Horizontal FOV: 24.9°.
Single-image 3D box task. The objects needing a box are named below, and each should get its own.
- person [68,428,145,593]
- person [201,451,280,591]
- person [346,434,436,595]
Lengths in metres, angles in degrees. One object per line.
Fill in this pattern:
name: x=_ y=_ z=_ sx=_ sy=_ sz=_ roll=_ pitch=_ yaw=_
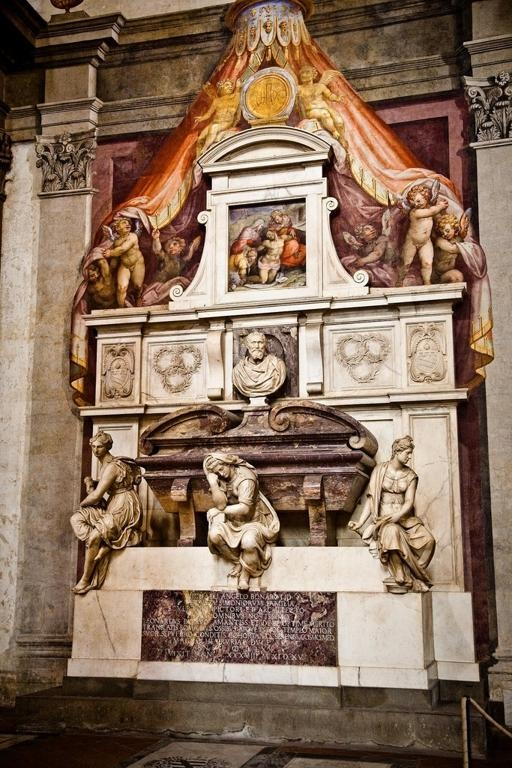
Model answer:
person: x=-1.102 y=0.935 z=8.586 sx=0.506 sy=1.241 sz=0.401 roll=2 pitch=-14 yaw=-6
person: x=-0.100 y=0.957 z=8.070 sx=0.540 sy=0.962 sz=0.371 roll=5 pitch=-14 yaw=-16
person: x=0.923 y=0.893 z=7.951 sx=0.528 sy=1.087 sz=0.493 roll=-3 pitch=-14 yaw=14
